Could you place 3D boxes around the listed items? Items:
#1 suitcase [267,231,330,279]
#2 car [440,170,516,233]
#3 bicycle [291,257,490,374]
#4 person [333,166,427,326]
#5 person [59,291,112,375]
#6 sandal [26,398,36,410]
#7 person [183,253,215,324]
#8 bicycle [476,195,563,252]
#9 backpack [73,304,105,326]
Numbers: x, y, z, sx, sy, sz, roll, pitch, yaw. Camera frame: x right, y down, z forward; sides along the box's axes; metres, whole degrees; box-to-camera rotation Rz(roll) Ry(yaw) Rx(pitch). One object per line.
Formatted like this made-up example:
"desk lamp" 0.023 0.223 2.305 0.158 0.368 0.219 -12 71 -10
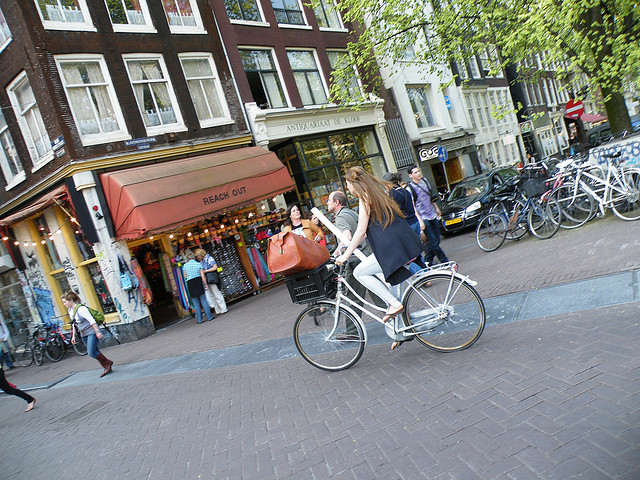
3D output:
"suitcase" -0.337 0.177 7.233 0.558 0.507 1.385 -16 -5 13
"car" 5.040 -1.323 16.125 1.403 1.245 2.963 -19 0 41
"bicycle" 0.845 0.924 6.631 2.576 1.419 1.151 -13 -9 14
"person" 0.821 0.045 6.689 1.110 1.551 1.065 -16 7 7
"person" -4.983 2.059 10.538 0.548 1.945 1.434 -22 9 -28
"sandal" -5.594 3.207 9.623 0.228 0.099 0.079 -63 15 -24
"person" -3.448 1.469 14.106 0.660 1.817 0.466 -20 8 -13
"bicycle" 4.661 -0.454 11.435 1.985 1.136 0.993 -11 -7 39
"backpack" -5.017 1.695 10.746 0.556 0.490 0.371 -11 19 -15
